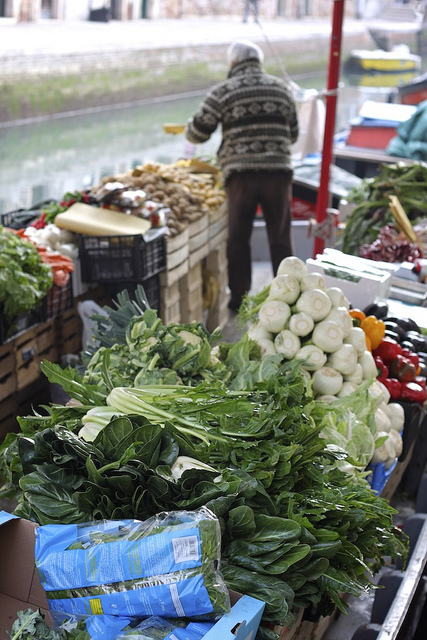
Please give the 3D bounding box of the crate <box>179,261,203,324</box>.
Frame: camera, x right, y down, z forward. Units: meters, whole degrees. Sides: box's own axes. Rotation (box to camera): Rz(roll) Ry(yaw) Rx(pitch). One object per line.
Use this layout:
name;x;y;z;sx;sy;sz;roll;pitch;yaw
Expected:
crate;-0.186;-0.230;3.930;0.229;0.484;0.503;0;5;16

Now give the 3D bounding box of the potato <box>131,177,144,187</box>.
potato;-0.635;-1.167;4.125;0.098;0.091;0.072;-5;28;-6

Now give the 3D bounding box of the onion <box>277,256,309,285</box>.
onion;0.291;-0.200;1.828;0.098;0.094;0.095;23;-4;-5

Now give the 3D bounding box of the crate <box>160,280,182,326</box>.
crate;-0.318;-0.136;3.602;0.174;0.309;0.322;0;8;5

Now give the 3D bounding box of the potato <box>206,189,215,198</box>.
potato;-0.027;-1.159;4.474;0.089;0.065;0.089;-18;36;-11

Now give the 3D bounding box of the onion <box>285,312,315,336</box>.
onion;0.301;0.013;1.691;0.083;0.074;0.048;-5;7;13

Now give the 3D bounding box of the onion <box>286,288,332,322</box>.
onion;0.351;-0.058;1.772;0.129;0.111;0.131;12;22;37

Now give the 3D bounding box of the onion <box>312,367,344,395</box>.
onion;0.395;0.207;1.693;0.098;0.083;0.096;8;0;10

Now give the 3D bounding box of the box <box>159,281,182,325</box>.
box;-0.319;-0.134;3.602;0.163;0.283;0.297;-1;11;2

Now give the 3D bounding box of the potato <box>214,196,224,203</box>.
potato;0.067;-1.106;4.505;0.065;0.060;0.060;-1;21;-5

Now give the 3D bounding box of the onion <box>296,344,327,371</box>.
onion;0.331;0.130;1.680;0.094;0.078;0.054;17;-1;6

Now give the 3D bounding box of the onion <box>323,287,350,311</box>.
onion;0.452;-0.083;1.839;0.078;0.085;0.089;-13;-4;-9

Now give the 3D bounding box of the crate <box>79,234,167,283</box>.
crate;-0.573;-0.424;3.279;0.616;0.332;0.252;-1;17;-21

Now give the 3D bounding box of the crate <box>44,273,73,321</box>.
crate;-0.932;-0.150;2.936;0.146;0.176;0.255;5;21;18

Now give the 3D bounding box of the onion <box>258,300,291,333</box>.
onion;0.216;-0.017;1.796;0.111;0.111;0.109;14;5;14

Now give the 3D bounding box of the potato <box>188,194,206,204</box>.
potato;-0.147;-1.040;4.204;0.159;0.083;0.198;0;2;-3

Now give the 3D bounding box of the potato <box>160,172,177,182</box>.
potato;-0.401;-1.278;4.391;0.098;0.052;0.098;6;28;18

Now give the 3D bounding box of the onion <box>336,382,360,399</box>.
onion;0.478;0.241;1.739;0.056;0.065;0.055;3;2;1

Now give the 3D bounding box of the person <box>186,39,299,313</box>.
person;0.298;-1.190;4.282;1.033;2.228;0.488;-4;18;-30

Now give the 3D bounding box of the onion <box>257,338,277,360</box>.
onion;0.192;0.104;1.743;0.063;0.074;0.063;-2;1;34

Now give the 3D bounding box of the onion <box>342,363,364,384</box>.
onion;0.509;0.190;1.814;0.072;0.071;0.071;-3;8;-3

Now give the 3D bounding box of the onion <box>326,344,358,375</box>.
onion;0.449;0.137;1.737;0.106;0.105;0.147;1;-9;8

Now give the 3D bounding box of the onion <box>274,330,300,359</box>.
onion;0.242;0.083;1.678;0.074;0.095;0.053;-2;-3;10

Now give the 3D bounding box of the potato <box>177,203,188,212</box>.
potato;-0.250;-0.906;3.931;0.058;0.073;0.075;1;8;-4

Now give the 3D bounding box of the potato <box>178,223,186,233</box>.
potato;-0.233;-0.690;3.661;0.063;0.062;0.017;-6;5;-43

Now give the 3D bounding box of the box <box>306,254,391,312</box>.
box;0.660;-0.183;2.392;0.373;0.265;0.268;18;12;22

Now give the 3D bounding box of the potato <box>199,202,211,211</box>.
potato;-0.065;-0.984;4.239;0.089;0.032;0.090;39;8;38

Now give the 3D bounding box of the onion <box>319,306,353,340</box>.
onion;0.449;0.013;1.792;0.091;0.096;0.121;1;12;-34

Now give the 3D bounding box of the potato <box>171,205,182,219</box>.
potato;-0.276;-0.854;3.835;0.060;0.100;0.079;-14;21;10

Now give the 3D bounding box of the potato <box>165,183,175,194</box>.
potato;-0.372;-1.128;4.163;0.078;0.057;0.102;-3;52;3

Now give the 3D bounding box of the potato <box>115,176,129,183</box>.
potato;-0.749;-1.151;3.994;0.099;0.028;0.095;12;26;25

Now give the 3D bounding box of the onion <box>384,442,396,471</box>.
onion;0.657;0.503;1.819;0.033;0.085;0.073;3;-8;8

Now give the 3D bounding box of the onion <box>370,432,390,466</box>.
onion;0.611;0.467;1.775;0.048;0.067;0.170;13;18;28

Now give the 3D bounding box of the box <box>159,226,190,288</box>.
box;-0.273;-0.467;3.627;0.184;0.430;0.247;2;20;13

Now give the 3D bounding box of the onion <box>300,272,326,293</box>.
onion;0.360;-0.142;1.773;0.078;0.073;0.077;-4;9;4
